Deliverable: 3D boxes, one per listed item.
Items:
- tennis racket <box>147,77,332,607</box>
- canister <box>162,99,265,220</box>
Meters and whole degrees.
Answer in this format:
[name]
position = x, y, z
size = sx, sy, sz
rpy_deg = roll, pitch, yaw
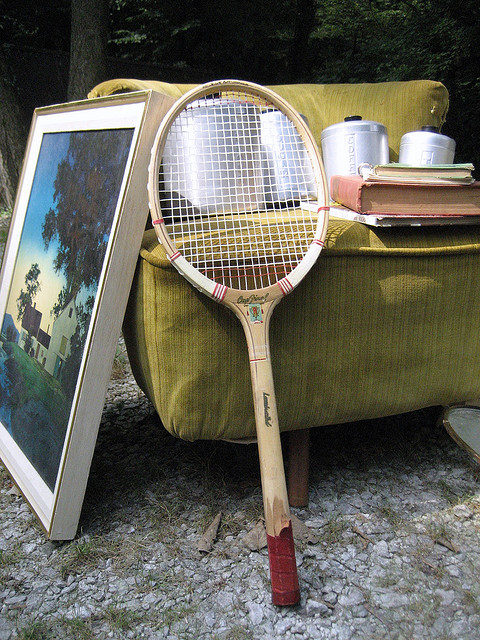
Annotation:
[tennis racket]
position = -0.045, 0.092, 1.255
size = 0.402, 1.102, 0.452
rpy_deg = 4, 26, -5
[canister]
position = -0.074, -0.367, 1.269
size = 0.255, 0.294, 0.263
rpy_deg = -9, 22, -20
